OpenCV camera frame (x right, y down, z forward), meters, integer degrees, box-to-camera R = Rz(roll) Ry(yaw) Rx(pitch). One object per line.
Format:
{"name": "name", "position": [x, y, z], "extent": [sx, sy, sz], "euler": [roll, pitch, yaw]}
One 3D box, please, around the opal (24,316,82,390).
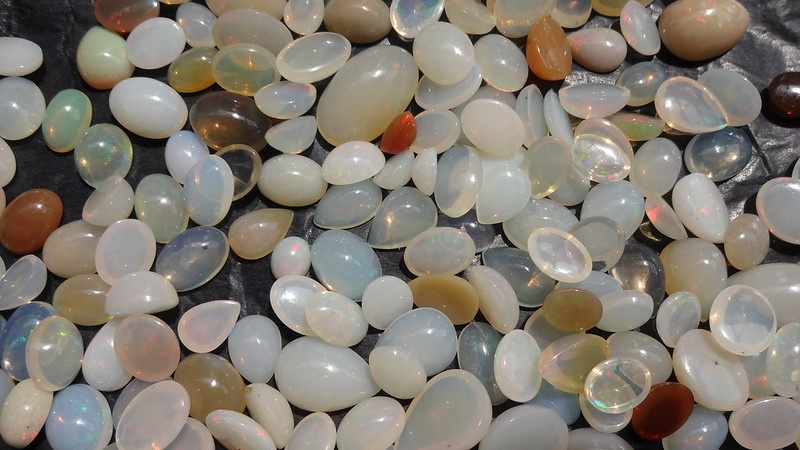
{"name": "opal", "position": [-0.935, 0.333, 1.870], "extent": [0.132, 0.103, 0.199], "euler": [1, 86, -10]}

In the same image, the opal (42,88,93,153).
{"name": "opal", "position": [-0.942, -0.292, 1.952], "extent": [0.116, 0.059, 0.178], "euler": [28, 78, 4]}
